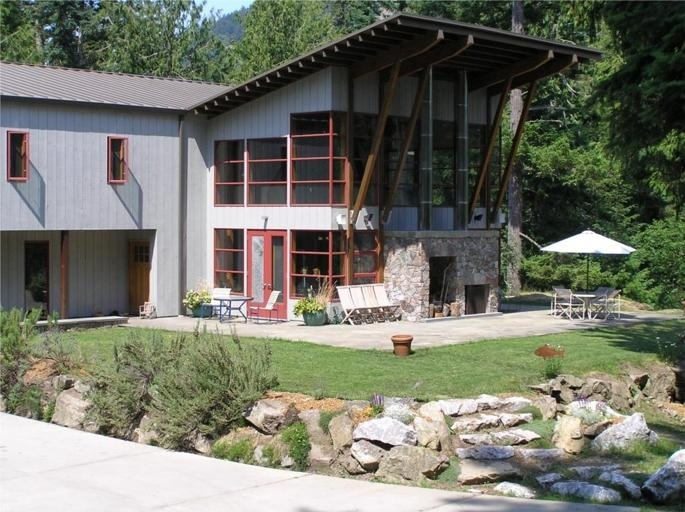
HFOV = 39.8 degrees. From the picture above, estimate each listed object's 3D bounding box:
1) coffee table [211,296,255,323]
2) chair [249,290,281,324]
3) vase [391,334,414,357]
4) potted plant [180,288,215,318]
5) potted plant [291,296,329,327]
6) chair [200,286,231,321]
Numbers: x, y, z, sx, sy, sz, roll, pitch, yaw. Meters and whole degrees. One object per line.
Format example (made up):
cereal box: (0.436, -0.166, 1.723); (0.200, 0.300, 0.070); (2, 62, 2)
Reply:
coffee table: (-3.864, 1.796, 33.021); (0.945, 0.650, 1.045); (-4, 6, -29)
chair: (-2.604, 1.753, 32.445); (0.991, 1.458, 0.909); (2, -3, -22)
vase: (1.575, 2.427, 25.490); (0.484, 0.448, 0.534); (0, -4, -4)
potted plant: (-5.012, 1.707, 33.260); (1.078, 0.922, 1.490); (0, 1, -36)
potted plant: (-1.086, 1.853, 31.275); (0.839, 0.729, 0.919); (1, -6, -9)
chair: (-4.375, 1.641, 33.161); (0.823, 1.379, 1.025); (1, -2, 18)
